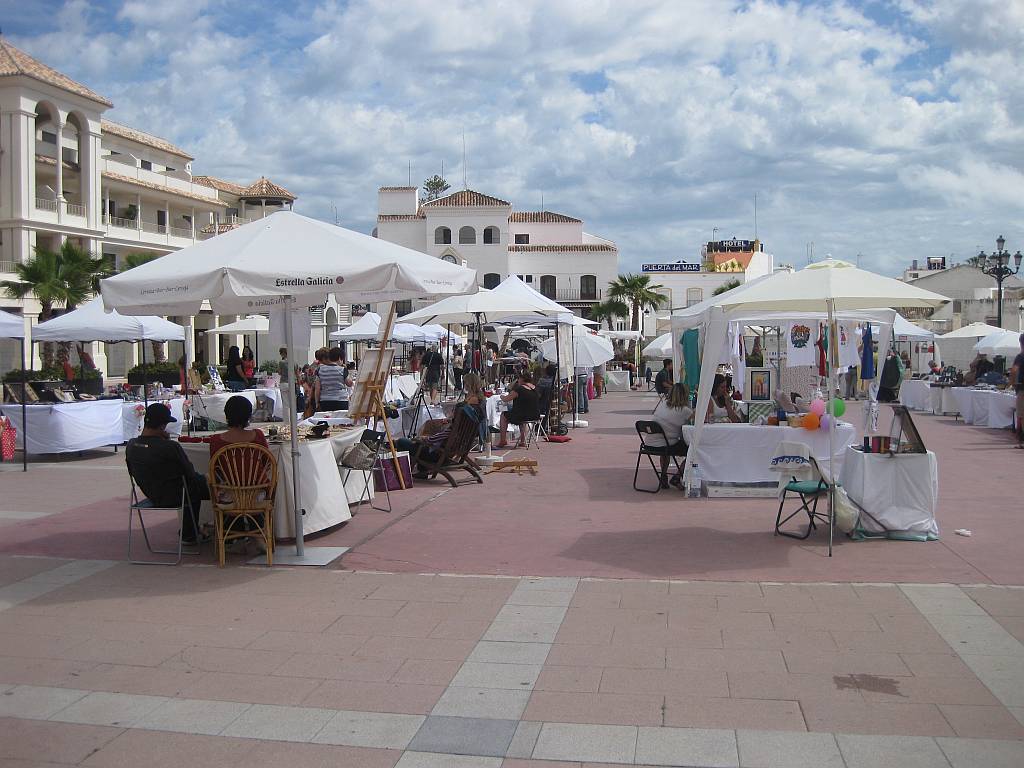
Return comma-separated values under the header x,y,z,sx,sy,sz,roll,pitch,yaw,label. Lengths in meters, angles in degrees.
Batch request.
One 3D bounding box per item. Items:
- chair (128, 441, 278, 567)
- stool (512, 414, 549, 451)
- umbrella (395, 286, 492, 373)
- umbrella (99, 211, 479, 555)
x,y,z,sx,sy,sz,roll,pitch,yaw,label
-2.744,1.017,8.375,1.029,1.584,1.391,1,15,-4,chair
0.296,0.909,16.599,0.535,0.847,0.615,-5,-10,37,stool
-1.509,-1.117,20.175,3.408,1.274,3.326,-2,-2,4,umbrella
-2.166,-0.198,9.771,3.645,3.272,3.695,-1,1,8,umbrella
